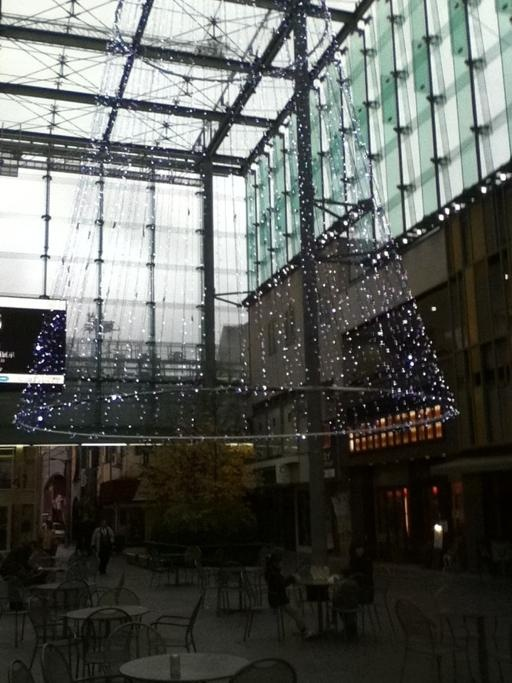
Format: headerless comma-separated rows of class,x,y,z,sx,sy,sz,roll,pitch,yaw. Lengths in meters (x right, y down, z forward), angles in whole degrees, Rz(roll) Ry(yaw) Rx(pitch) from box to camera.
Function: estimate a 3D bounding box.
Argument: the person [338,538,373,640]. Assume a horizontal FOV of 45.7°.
person,1.089,2.978,7.133,0.222,0.878,0.286,0,-3,26
